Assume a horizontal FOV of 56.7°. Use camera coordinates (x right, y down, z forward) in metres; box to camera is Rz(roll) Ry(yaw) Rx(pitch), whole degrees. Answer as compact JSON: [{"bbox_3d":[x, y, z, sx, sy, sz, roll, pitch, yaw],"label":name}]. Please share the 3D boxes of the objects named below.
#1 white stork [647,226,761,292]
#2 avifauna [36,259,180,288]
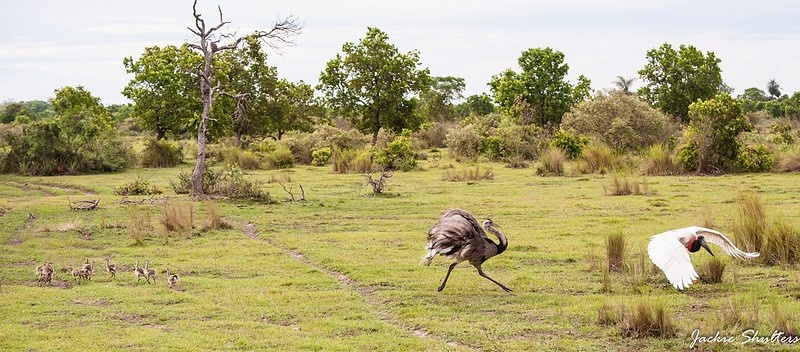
[{"bbox_3d":[16.208,4.503,39.459,2.166,3.339,5.812,1,-1,2],"label":"white stork"},{"bbox_3d":[-16.008,5.371,40.699,8.445,1.678,1.497,1,-1,-6],"label":"avifauna"}]
